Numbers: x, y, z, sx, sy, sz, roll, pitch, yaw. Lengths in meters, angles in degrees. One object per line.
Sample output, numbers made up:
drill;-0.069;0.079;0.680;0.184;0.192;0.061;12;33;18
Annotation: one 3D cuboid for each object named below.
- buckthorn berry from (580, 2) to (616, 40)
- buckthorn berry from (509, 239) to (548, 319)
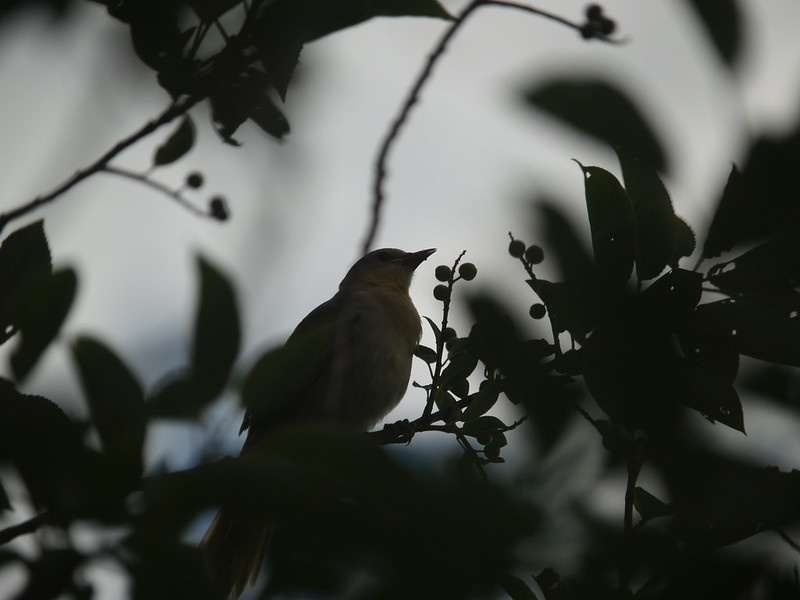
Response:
buckthorn berry;0.416;-0.597;2.697;0.063;0.089;0.159;-1;4;0
buckthorn berry;0.243;-0.047;2.328;0.058;0.045;0.177;15;-38;30
